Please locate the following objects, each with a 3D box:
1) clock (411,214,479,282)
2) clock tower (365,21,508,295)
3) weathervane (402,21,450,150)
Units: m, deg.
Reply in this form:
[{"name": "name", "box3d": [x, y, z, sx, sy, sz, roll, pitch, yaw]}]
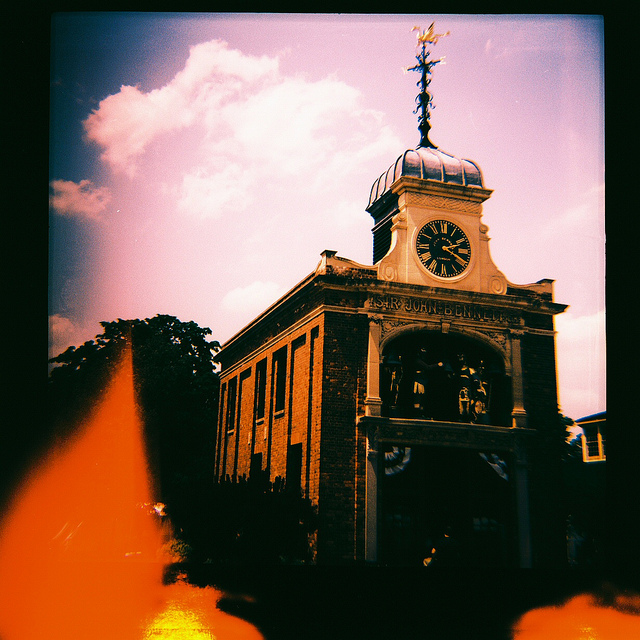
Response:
[{"name": "clock", "box3d": [3.319, -1.864, 26.932, 1.585, 1.799, 0.143, 9, 32, 18]}, {"name": "clock tower", "box3d": [2.853, -2.631, 28.063, 2.890, 10.178, 2.610, 1, -8, -25]}, {"name": "weathervane", "box3d": [2.850, -6.300, 27.400, 1.117, 3.360, 1.253, 0, 0, -15]}]
